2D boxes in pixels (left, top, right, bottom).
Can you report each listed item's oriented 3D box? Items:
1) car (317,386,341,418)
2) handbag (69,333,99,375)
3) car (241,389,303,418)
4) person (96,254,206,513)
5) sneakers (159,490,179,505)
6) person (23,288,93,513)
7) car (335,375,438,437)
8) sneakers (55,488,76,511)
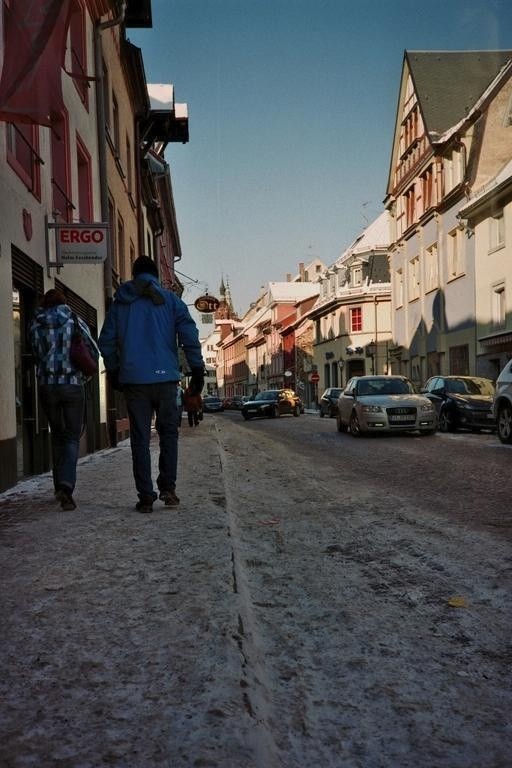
[{"bbox_3d":[3.734,0.910,31.032,1.072,1.001,1.904,0,-5,-10],"label":"car"},{"bbox_3d":[-1.492,-0.253,5.297,0.095,0.245,0.235,-13,-44,-1],"label":"handbag"},{"bbox_3d":[1.174,1.128,33.684,1.422,1.291,3.298,-6,-8,30],"label":"car"},{"bbox_3d":[-0.816,-0.039,4.913,0.885,2.041,0.508,-3,0,21],"label":"person"},{"bbox_3d":[-0.688,0.890,4.927,0.073,0.191,0.089,-1,35,26],"label":"sneakers"},{"bbox_3d":[-1.614,0.074,5.262,0.543,1.885,0.927,-3,0,-22],"label":"person"},{"bbox_3d":[3.228,0.538,15.280,1.804,1.466,2.396,-3,0,-6],"label":"car"},{"bbox_3d":[-1.504,0.917,4.854,0.158,0.162,0.222,-3,0,-5],"label":"sneakers"}]
